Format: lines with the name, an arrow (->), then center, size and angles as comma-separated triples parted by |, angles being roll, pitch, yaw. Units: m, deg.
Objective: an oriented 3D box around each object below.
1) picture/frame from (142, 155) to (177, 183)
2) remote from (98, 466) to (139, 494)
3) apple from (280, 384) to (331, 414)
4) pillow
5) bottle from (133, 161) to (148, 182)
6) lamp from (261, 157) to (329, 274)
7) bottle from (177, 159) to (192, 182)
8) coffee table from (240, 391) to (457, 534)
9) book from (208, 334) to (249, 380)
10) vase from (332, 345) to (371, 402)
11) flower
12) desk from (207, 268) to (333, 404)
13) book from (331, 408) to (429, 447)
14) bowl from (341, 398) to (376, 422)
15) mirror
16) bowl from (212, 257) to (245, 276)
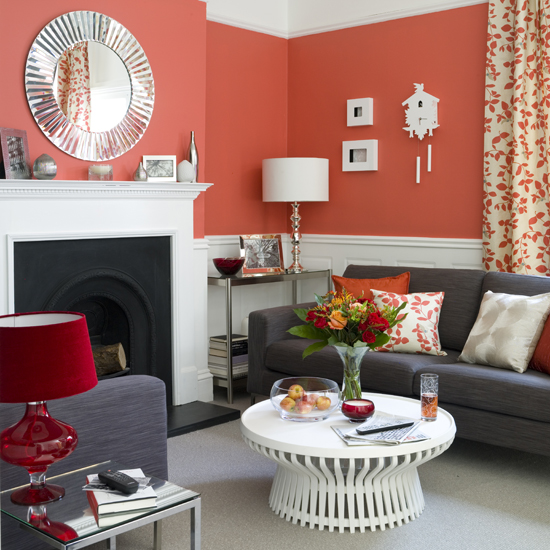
picture/frame -> -0.830, -0.747, 3.377 | 0.251, 0.195, 0.020 | -4, 4, -42
remote -> -0.374, 0.485, 1.170 | 0.089, 0.025, 0.042 | 12, 12, 42
apple -> 0.125, 0.494, 1.998 | 0.129, 0.057, 0.129 | 2, -2, -31
pillow -> 0.916, 0.300, 3.432 | 0.970, 0.572, 0.255 | 2, -9, 43
bottle -> -0.924, -0.711, 3.283 | 0.086, 0.168, 0.115 | 0, -1, -16
lamp -> 0.184, -0.572, 4.291 | 0.568, 1.093, 0.597 | 0, -1, 5
bottle -> -0.639, -0.744, 3.422 | 0.139, 0.160, 0.135 | 1, 5, 8
coffee table -> 0.233, 0.789, 1.881 | 0.580, 0.236, 0.583 | 1, 1, 35
book -> -0.331, 0.645, 3.979 | 0.311, 0.374, 0.407 | 0, -1, 35
vase -> 0.335, 0.450, 2.130 | 0.173, 0.262, 0.168 | 9, -12, -41
flower -> 0.314, 0.311, 2.112 | 0.421, 0.478, 0.292 | -1, -1, 33
desk -> -0.101, 0.429, 3.363 | 0.330, 0.802, 1.013 | 5, 8, 37
book -> 0.413, 0.599, 1.909 | 0.381, 0.037, 0.322 | 0, -1, -3
bowl -> 0.344, 0.547, 1.989 | 0.096, 0.052, 0.093 | -1, 1, 0
mirror -> -1.154, -1.187, 3.051 | 0.130, 0.908, 0.805 | -1, -2, 39
bowl -> -0.363, -0.072, 3.818 | 0.171, 0.092, 0.165 | 0, 1, 0
